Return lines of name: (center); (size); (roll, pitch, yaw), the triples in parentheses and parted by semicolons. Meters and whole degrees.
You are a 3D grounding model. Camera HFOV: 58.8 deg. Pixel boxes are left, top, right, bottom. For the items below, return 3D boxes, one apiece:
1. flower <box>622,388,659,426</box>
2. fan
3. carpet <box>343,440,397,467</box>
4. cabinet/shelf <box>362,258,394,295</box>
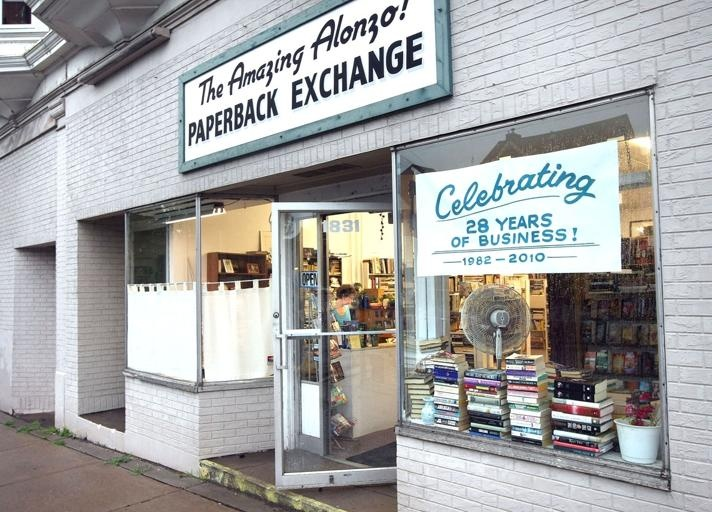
flower: (2.185, 1.161, 4.839); (0.258, 0.236, 0.209); (9, -11, -31)
fan: (1.213, 0.603, 5.525); (0.539, 0.723, 0.361); (0, -1, 25)
carpet: (0.204, 2.158, 6.759); (0.566, 0.166, 0.283); (-14, 7, -15)
cabinet/shelf: (0.246, 0.230, 6.714); (0.137, 0.352, 0.388); (2, -6, -33)
